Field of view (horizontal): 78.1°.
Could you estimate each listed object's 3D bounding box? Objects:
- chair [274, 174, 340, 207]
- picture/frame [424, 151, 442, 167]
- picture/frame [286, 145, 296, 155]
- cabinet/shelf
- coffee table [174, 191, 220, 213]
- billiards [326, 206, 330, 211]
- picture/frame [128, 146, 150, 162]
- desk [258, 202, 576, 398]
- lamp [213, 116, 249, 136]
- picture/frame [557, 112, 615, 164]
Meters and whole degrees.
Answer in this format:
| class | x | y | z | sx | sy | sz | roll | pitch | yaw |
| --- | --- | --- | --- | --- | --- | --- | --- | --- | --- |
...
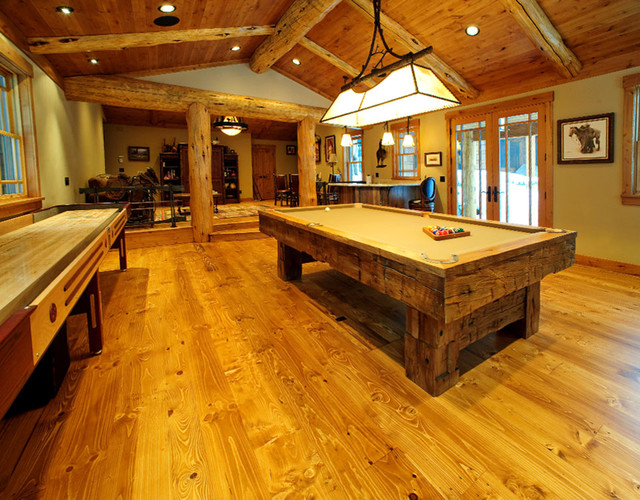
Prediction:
| class | x | y | z | sx | sy | sz | roll | pitch | yaw |
| --- | --- | --- | --- | --- | --- | --- | --- | --- | --- |
| chair | -0.556 | -1.514 | 10.076 | 1.296 | 0.620 | 1.262 | -5 | 11 | -30 |
| picture/frame | 2.063 | -1.649 | 7.180 | 0.025 | 0.217 | 0.317 | -5 | 10 | -25 |
| picture/frame | -1.042 | -3.510 | 13.934 | 0.382 | 0.356 | 0.037 | -5 | 21 | -21 |
| cabinet/shelf | -3.446 | -2.244 | 11.721 | 2.360 | 1.782 | 0.874 | -7 | 14 | -25 |
| coffee table | -2.603 | -1.002 | 8.300 | 0.896 | 0.429 | 0.638 | -5 | 25 | -17 |
| billiards | 0.091 | -0.490 | 4.735 | 0.049 | 0.059 | 0.048 | -21 | 49 | 3 |
| picture/frame | -5.020 | -2.655 | 10.906 | 0.478 | 0.399 | 0.064 | -3 | 6 | -38 |
| desk | 0.538 | 0.139 | 3.802 | 1.464 | 0.940 | 2.898 | -8 | 15 | -30 |
| lamp | -1.767 | -2.481 | 8.047 | 0.600 | 0.420 | 0.610 | 3 | 4 | 28 |
| picture/frame | 3.306 | -1.383 | 4.883 | 0.030 | 0.637 | 0.737 | -4 | 5 | -29 |
